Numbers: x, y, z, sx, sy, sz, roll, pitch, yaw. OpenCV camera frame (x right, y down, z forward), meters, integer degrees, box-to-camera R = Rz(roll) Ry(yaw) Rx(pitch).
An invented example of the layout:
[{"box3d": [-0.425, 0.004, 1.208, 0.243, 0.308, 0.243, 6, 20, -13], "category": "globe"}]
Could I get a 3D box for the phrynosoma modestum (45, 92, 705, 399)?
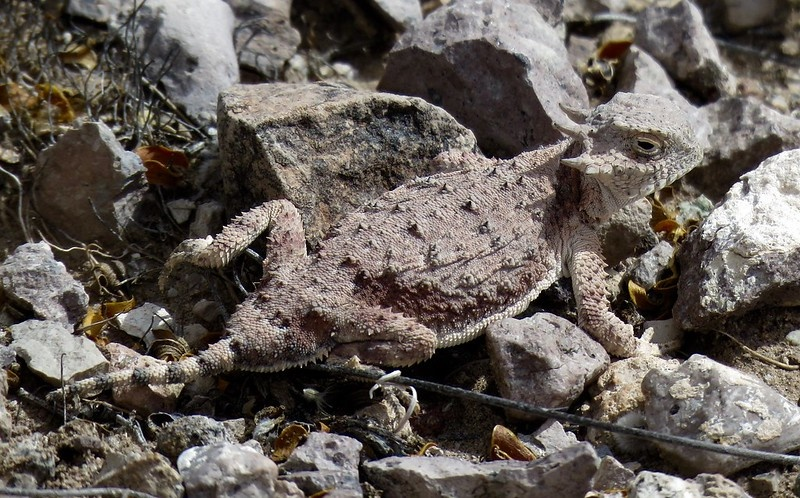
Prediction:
[{"box3d": [0.132, 0.078, 7.878, 4.138, 1.185, 2.104, -24, 62, -19], "category": "phrynosoma modestum"}]
